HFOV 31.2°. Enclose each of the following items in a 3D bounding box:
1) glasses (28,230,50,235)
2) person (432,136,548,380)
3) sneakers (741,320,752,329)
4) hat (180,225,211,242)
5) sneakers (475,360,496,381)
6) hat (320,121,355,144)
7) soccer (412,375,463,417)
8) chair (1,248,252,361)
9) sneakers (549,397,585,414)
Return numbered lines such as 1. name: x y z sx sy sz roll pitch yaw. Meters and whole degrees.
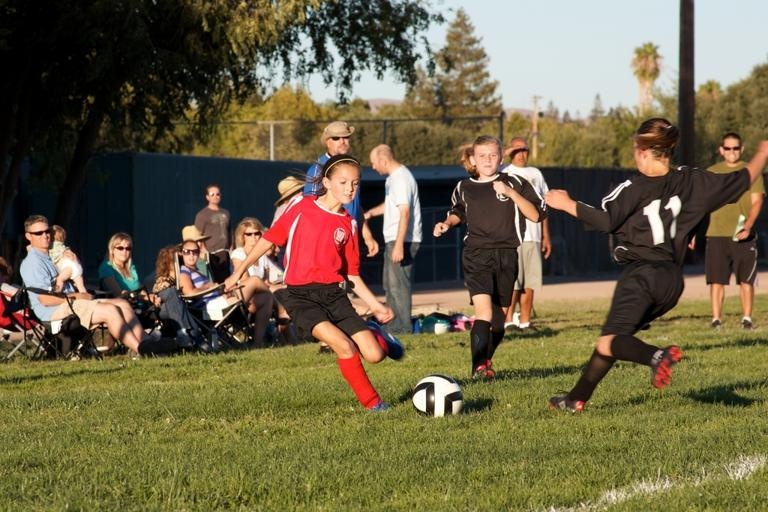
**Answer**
1. glasses: -5.253 -0.368 20.985 0.341 0.091 0.142 -2 1 -44
2. person: 1.488 -0.014 19.182 1.395 3.335 0.867 -1 1 26
3. sneakers: 5.815 1.080 22.037 0.150 0.165 0.107 -1 0 19
4. hat: -3.254 -0.376 23.194 0.391 0.192 0.416 -3 -1 -13
5. sneakers: 1.389 1.554 18.895 0.332 0.254 0.288 -1 1 -13
6. hat: -0.730 -1.894 20.836 0.452 0.332 0.405 -1 1 -5
7. soccer: 0.688 1.807 17.716 0.506 0.571 0.556 5 -4 -19
8. chair: -4.381 0.511 21.027 3.025 1.926 1.013 -1 1 4
9. sneakers: 2.334 1.902 17.654 0.397 0.175 0.184 8 4 24
